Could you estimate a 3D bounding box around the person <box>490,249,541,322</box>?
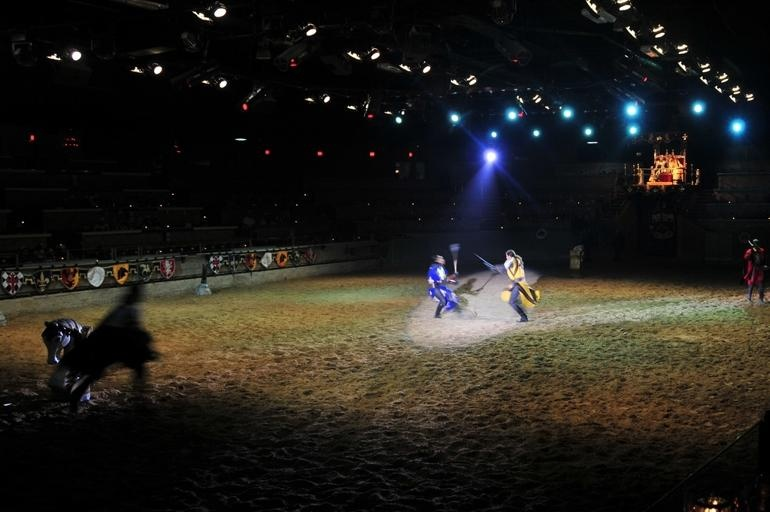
[{"bbox_3d":[4.403,0.882,18.160,1.133,2.315,1.368,1,11,13],"label":"person"}]
